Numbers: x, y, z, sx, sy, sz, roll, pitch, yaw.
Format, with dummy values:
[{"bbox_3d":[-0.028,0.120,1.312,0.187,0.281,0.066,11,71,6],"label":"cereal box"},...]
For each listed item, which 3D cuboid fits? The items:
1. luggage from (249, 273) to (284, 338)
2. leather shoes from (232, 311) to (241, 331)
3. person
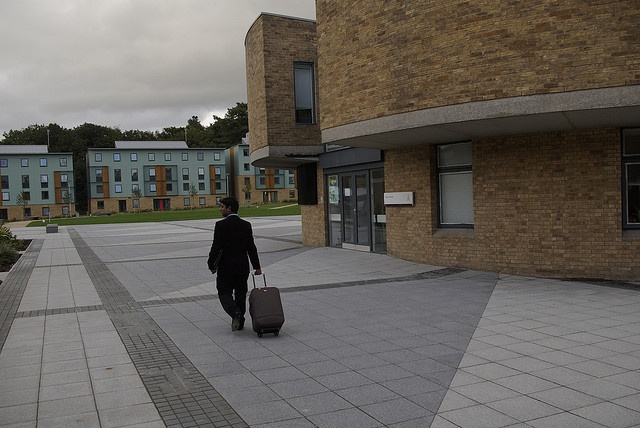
[{"bbox_3d":[-0.983,1.789,8.270,0.595,0.869,0.592,-2,5,-7],"label":"luggage"},{"bbox_3d":[-1.533,1.970,8.265,0.150,0.324,0.141,0,-1,-3],"label":"leather shoes"},{"bbox_3d":[-1.615,0.945,8.497,0.920,2.527,0.735,-3,6,-14],"label":"person"}]
